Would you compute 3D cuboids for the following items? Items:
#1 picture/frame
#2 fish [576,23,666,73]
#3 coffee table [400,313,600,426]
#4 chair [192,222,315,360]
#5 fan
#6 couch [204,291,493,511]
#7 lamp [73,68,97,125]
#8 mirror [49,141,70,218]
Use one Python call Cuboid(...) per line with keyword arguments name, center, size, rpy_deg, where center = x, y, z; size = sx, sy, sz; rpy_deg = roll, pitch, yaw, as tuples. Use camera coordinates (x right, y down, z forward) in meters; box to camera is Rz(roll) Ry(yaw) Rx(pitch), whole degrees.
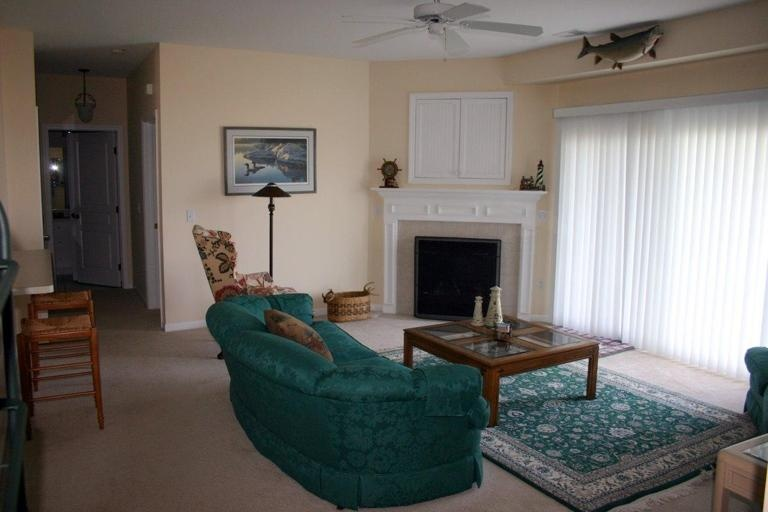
Cuboid(name="picture/frame", center=(-1.500, -1.262, 6.878), size=(1.237, 0.755, 0.045), rpy_deg=(-3, 8, -28))
Cuboid(name="fish", center=(2.490, -2.187, 5.670), size=(0.725, 0.338, 0.397), rpy_deg=(6, 10, 44))
Cuboid(name="coffee table", center=(1.156, 0.839, 4.851), size=(1.225, 0.456, 1.099), rpy_deg=(-4, 9, -32))
Cuboid(name="chair", center=(-1.530, 0.306, 6.276), size=(1.532, 1.569, 1.302), rpy_deg=(-2, 8, -19))
Cuboid(name="fan", center=(0.584, -2.288, 5.437), size=(0.994, 0.213, 0.875), rpy_deg=(-6, 11, -34))
Cuboid(name="couch", center=(-0.179, 0.502, 3.574), size=(1.377, 0.879, 2.414), rpy_deg=(-12, 18, -34))
Cuboid(name="lamp", center=(-4.365, -2.343, 7.921), size=(0.283, 0.710, 0.616), rpy_deg=(-6, 9, -28))
Cuboid(name="mirror", center=(-5.595, -1.423, 9.340), size=(0.323, 1.512, 0.809), rpy_deg=(-7, 10, -30))
